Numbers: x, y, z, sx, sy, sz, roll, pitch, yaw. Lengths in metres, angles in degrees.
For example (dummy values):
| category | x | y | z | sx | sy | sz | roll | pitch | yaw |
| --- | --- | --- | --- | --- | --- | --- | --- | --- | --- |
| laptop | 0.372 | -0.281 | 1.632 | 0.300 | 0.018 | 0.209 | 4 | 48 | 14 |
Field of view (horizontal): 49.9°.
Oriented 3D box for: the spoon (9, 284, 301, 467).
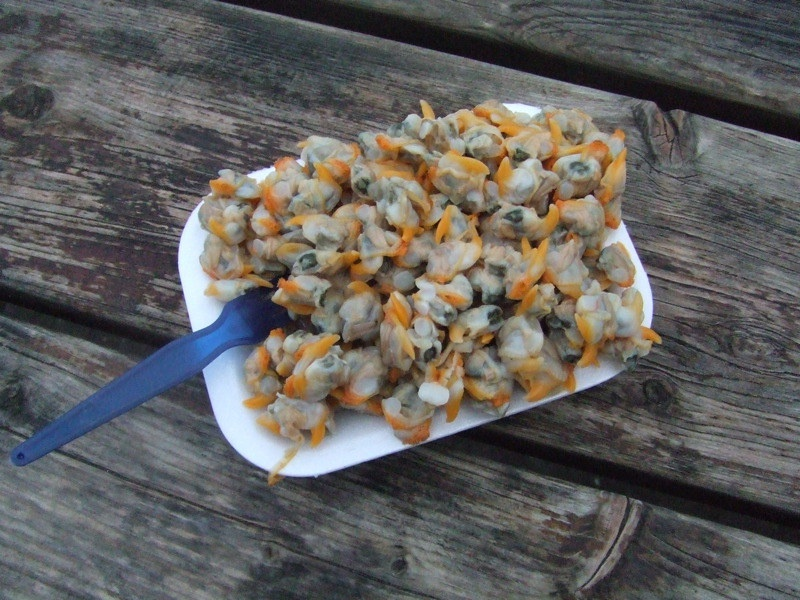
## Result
| category | x | y | z | sx | sy | sz | roll | pitch | yaw |
| --- | --- | --- | --- | --- | --- | --- | --- | --- | --- |
| spoon | -0.615 | 0.181 | 2.162 | 0.991 | 0.049 | 0.190 | -32 | 51 | 7 |
